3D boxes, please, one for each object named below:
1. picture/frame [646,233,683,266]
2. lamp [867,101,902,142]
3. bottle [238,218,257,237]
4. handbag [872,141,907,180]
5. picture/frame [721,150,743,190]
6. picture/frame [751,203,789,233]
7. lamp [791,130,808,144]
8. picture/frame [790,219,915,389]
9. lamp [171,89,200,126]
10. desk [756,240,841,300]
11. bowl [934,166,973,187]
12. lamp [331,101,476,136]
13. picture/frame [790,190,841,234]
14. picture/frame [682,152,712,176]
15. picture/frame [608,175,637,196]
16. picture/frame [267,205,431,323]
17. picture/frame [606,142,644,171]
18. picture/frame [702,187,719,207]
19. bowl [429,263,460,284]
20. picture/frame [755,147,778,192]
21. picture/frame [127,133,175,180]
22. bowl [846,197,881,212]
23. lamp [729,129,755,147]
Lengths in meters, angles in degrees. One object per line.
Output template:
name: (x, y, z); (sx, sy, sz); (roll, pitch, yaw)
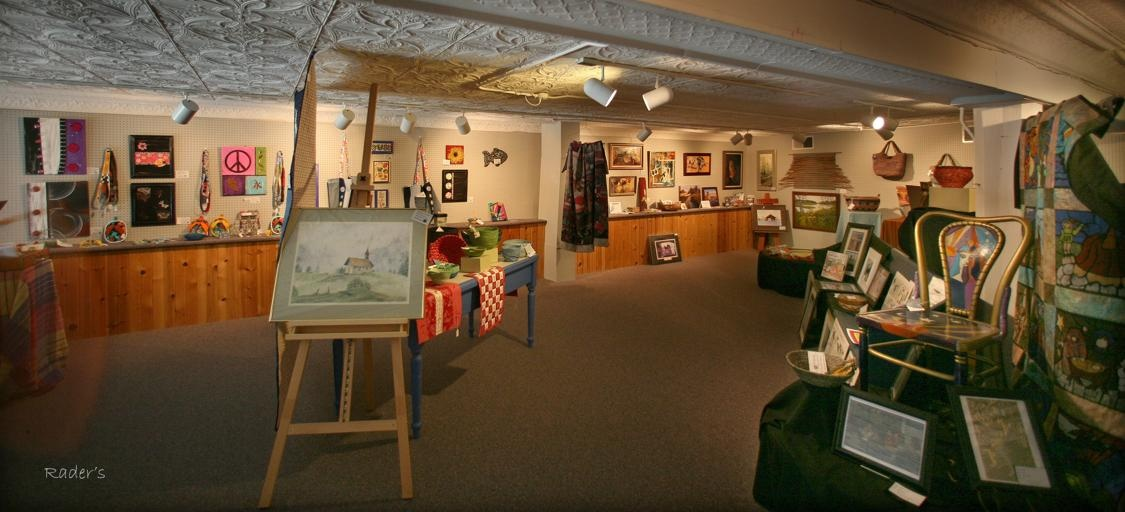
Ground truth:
picture/frame: (2.413, -0.142, 15.470); (1.017, 0.566, 0.120); (-4, -6, -28)
lamp: (6.144, -2.569, 12.213); (0.365, 0.342, 0.584); (11, 1, 31)
bottle: (-5.742, -0.513, 11.670); (0.467, 0.339, 0.234); (0, 0, -24)
handbag: (7.275, -2.089, 14.282); (0.677, 0.895, 0.510); (11, 20, 35)
picture/frame: (4.600, -2.292, 17.289); (0.729, 1.020, 0.133); (-10, 19, -28)
picture/frame: (5.336, -0.978, 16.529); (1.032, 0.666, 0.313); (0, -2, 2)
lamp: (5.801, -2.911, 15.809); (0.323, 0.261, 0.377); (-38, 25, -25)
picture/frame: (4.259, 0.745, 9.430); (1.117, 1.441, 2.720); (2, 8, 9)
lamp: (-6.325, -2.492, 10.719); (0.426, 0.360, 0.397); (-39, -2, 27)
desk: (4.741, 0.262, 12.679); (1.179, 0.729, 1.433); (-5, 16, -22)
bowl: (6.533, -1.329, 10.756); (0.518, 0.223, 0.466); (-3, 5, -26)
lamp: (-3.057, -2.508, 12.066); (2.290, 0.508, 1.287); (-5, 16, -17)
picture/frame: (6.344, -1.109, 16.041); (0.134, 0.978, 1.418); (-4, 7, -30)
picture/frame: (3.428, -2.385, 16.626); (0.840, 0.425, 0.030); (-5, 7, -29)
picture/frame: (1.394, -1.684, 15.415); (0.739, 0.334, 0.047); (-5, 9, -28)
picture/frame: (-2.678, 0.091, 8.186); (2.553, 1.520, 0.084); (-1, -6, 22)
picture/frame: (1.447, -2.372, 15.324); (1.129, 0.503, 0.079); (-6, 10, -30)
picture/frame: (3.860, -1.547, 16.893); (0.703, 0.496, 0.087); (0, -5, -28)
bowl: (-1.760, 0.238, 9.341); (0.368, 0.208, 0.456); (2, 15, 9)
picture/frame: (5.412, -2.243, 16.990); (0.126, 1.057, 0.625); (-11, 19, -30)
picture/frame: (-7.265, -1.757, 11.258); (1.073, 0.895, 0.114); (-3, 6, -27)
bowl: (6.070, -1.041, 12.959); (0.610, 0.193, 0.382); (1, 7, 8)
lamp: (4.374, -2.904, 15.724); (0.454, 0.211, 0.397); (-11, 36, -1)
